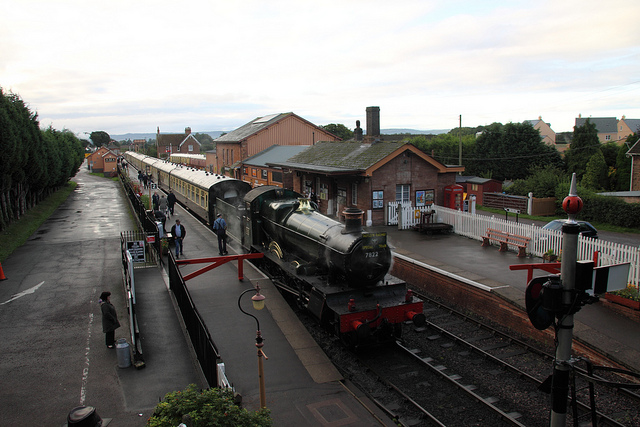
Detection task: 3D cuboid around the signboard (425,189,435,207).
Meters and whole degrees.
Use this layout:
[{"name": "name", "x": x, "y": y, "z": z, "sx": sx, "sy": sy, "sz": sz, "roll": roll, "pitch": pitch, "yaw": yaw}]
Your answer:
[{"name": "signboard", "x": 7.509, "y": -1.055, "z": 26.568, "sx": 1.237, "sy": 1.481, "sz": 0.110, "roll": -5, "pitch": 9, "yaw": -25}]

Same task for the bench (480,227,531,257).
[{"name": "bench", "x": 9.481, "y": 1.509, "z": 20.018, "sx": 0.733, "sy": 0.837, "sz": 2.531, "roll": -8, "pitch": 12, "yaw": -25}]

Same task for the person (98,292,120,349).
[{"name": "person", "x": -6.240, "y": 3.226, "z": 11.480, "sx": 0.394, "sy": 1.636, "sz": 0.691, "roll": -9, "pitch": 14, "yaw": -30}]

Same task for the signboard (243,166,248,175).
[{"name": "signboard", "x": -9.045, "y": -5.094, "z": 46.886, "sx": 0.259, "sy": 0.909, "sz": 1.041, "roll": -6, "pitch": 9, "yaw": -44}]
